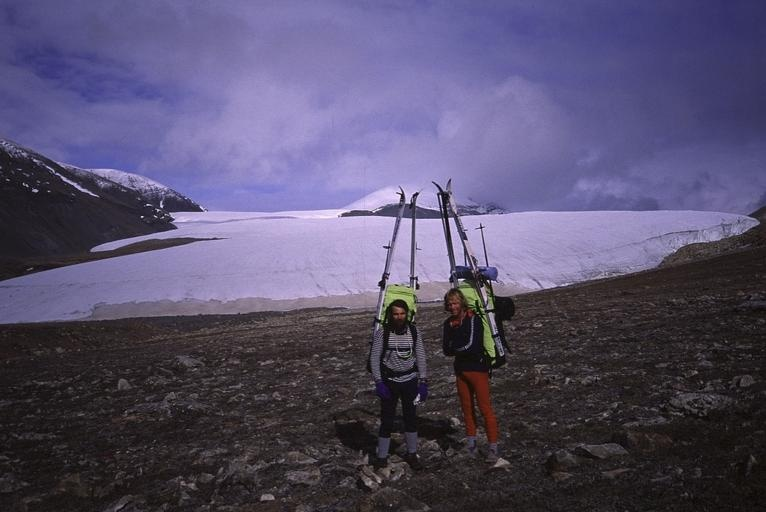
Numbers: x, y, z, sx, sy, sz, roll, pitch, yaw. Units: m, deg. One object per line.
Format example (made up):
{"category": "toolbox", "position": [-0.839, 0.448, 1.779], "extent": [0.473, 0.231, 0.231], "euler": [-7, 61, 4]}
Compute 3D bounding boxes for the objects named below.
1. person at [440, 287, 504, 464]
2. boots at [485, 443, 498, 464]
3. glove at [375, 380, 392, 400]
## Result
{"category": "person", "position": [1.510, 2.067, 6.658], "extent": [0.816, 2.998, 0.584], "euler": [-4, 2, 20]}
{"category": "boots", "position": [1.869, 3.389, 6.586], "extent": [0.218, 0.313, 0.423], "euler": [-4, 1, 13]}
{"category": "glove", "position": [-0.058, 2.332, 6.526], "extent": [0.122, 0.312, 0.246], "euler": [-34, -1, 37]}
